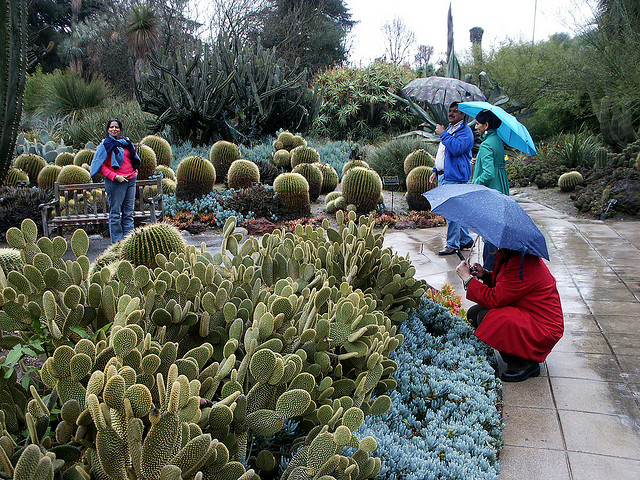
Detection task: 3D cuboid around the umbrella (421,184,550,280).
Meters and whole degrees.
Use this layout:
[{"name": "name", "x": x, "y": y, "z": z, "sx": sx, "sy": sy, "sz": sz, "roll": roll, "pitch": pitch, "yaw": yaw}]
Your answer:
[{"name": "umbrella", "x": 1.275, "y": -0.155, "z": 3.879, "sx": 0.505, "sy": 0.510, "sz": 0.913, "roll": -4, "pitch": 9, "yaw": -27}]

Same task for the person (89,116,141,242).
[{"name": "person", "x": -2.774, "y": -0.786, "z": 6.761, "sx": 0.430, "sy": 1.643, "sz": 0.558, "roll": 2, "pitch": 7, "yaw": 16}]

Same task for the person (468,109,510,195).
[{"name": "person", "x": 2.044, "y": -1.032, "z": 5.859, "sx": 0.418, "sy": 0.982, "sz": 0.449, "roll": 2, "pitch": 8, "yaw": 21}]

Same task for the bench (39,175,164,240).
[{"name": "bench", "x": -3.514, "y": -0.364, "z": 7.544, "sx": 1.345, "sy": 0.916, "sz": 0.593, "roll": -4, "pitch": 9, "yaw": 5}]

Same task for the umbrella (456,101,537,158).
[{"name": "umbrella", "x": 2.187, "y": -1.378, "z": 6.036, "sx": 0.807, "sy": 0.671, "sz": 1.197, "roll": 0, "pitch": 8, "yaw": 4}]

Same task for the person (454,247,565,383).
[{"name": "person", "x": 1.463, "y": 0.527, "z": 3.771, "sx": 0.736, "sy": 0.990, "sz": 0.520, "roll": 4, "pitch": 8, "yaw": 28}]

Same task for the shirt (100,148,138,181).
[{"name": "shirt", "x": -2.701, "y": -0.934, "z": 6.728, "sx": 0.470, "sy": 0.684, "sz": 0.364, "roll": -1, "pitch": 2, "yaw": -19}]
